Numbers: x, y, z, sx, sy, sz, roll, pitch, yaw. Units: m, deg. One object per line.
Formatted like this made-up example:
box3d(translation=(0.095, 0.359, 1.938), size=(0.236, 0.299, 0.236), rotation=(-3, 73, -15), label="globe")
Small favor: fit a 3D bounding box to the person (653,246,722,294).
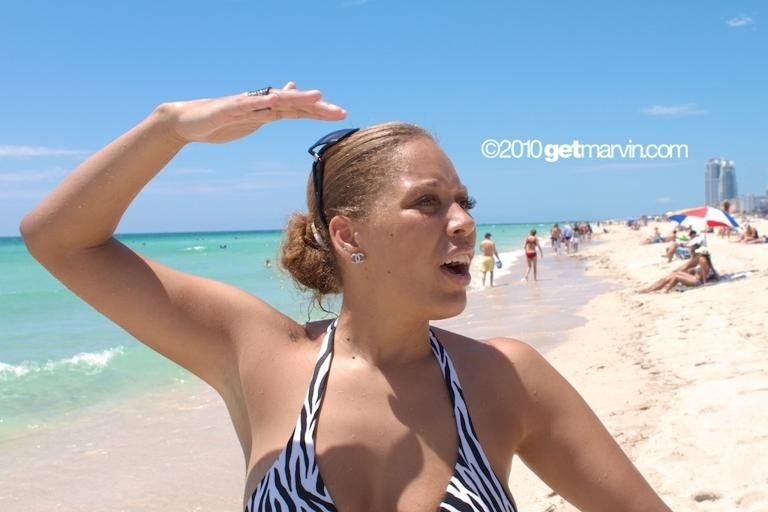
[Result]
box3d(translation=(6.934, 0.369, 14.871), size=(1.568, 0.769, 0.649), rotation=(-13, -10, 39), label="person")
